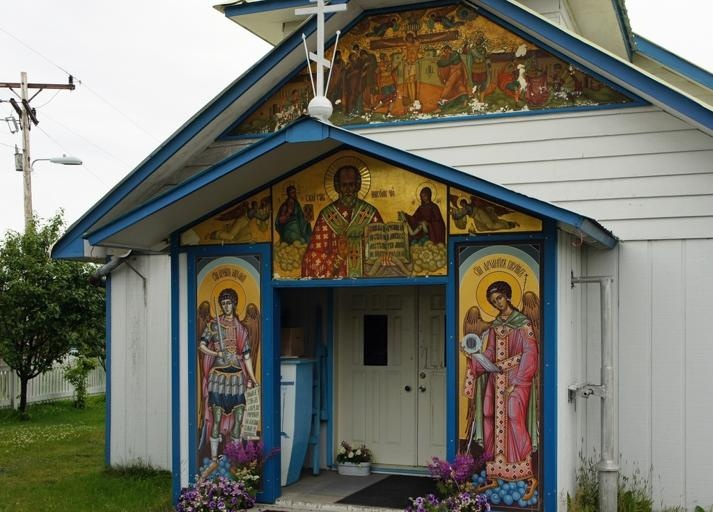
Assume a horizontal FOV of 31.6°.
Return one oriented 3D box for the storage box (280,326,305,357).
[{"bbox_3d":[-0.939,1.294,19.181,0.347,0.416,0.334,0,3,-39],"label":"storage box"}]
